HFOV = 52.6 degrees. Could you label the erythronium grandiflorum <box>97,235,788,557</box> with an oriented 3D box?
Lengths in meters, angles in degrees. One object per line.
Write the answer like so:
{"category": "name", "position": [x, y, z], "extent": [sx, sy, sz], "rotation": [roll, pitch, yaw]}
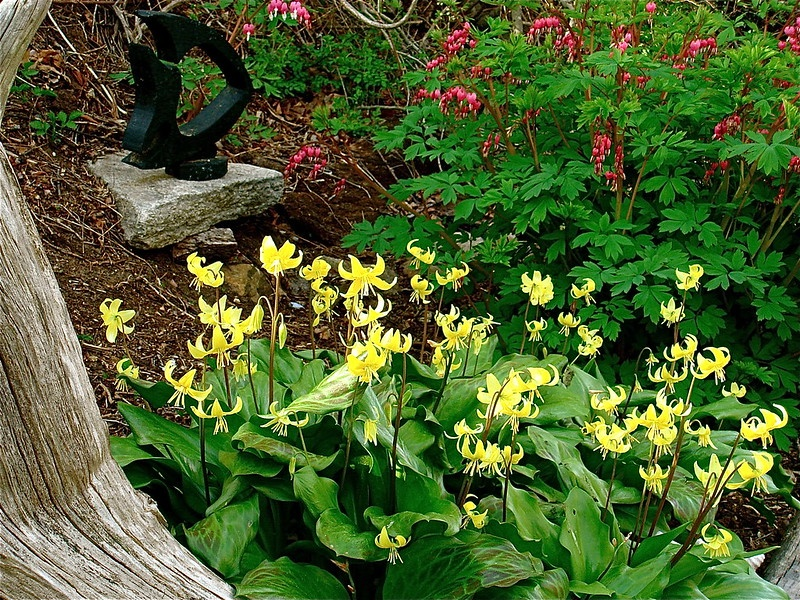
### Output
{"category": "erythronium grandiflorum", "position": [0.168, 0.509, 4.281], "extent": [2.951, 1.338, 1.943], "rotation": [8, 28, -9]}
